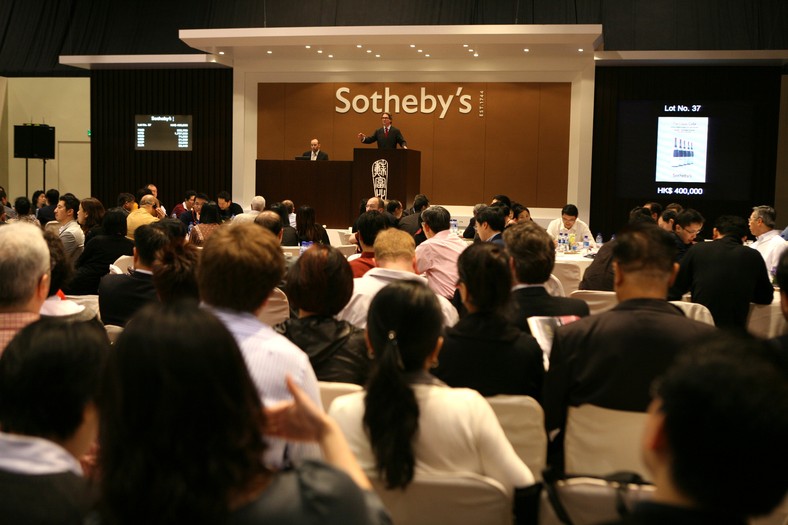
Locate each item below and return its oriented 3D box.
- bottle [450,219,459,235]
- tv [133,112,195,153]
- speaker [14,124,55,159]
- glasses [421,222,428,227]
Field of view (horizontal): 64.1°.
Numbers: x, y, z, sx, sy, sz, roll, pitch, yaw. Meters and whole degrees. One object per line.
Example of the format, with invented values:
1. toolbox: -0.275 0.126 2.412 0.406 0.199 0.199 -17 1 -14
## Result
1. bottle: 0.841 -0.516 8.909 0.131 0.304 0.297 0 6 3
2. tv: -5.023 -2.855 13.688 1.228 0.819 0.016 -6 29 -31
3. speaker: -7.563 -2.572 13.277 0.667 0.750 0.379 0 1 -15
4. glasses: 0.271 -0.364 5.838 0.040 0.058 0.078 0 2 10
